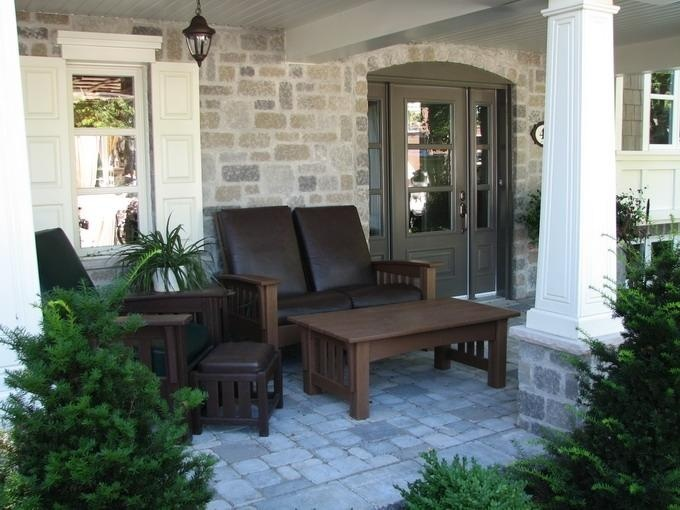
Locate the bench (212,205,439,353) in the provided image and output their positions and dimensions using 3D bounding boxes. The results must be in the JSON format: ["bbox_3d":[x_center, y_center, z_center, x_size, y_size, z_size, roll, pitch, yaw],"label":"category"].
[{"bbox_3d":[-0.194,0.150,4.872,1.834,1.114,1.137,-6,11,-39],"label":"bench"}]

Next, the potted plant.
[{"bbox_3d":[-1.434,0.041,4.418,0.669,0.463,0.637,-9,33,-28],"label":"potted plant"}]

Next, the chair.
[{"bbox_3d":[-1.361,0.445,3.283,1.074,1.205,0.917,-3,11,6],"label":"chair"}]

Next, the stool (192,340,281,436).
[{"bbox_3d":[-0.659,0.851,3.408,0.509,0.495,0.458,-2,7,2],"label":"stool"}]
